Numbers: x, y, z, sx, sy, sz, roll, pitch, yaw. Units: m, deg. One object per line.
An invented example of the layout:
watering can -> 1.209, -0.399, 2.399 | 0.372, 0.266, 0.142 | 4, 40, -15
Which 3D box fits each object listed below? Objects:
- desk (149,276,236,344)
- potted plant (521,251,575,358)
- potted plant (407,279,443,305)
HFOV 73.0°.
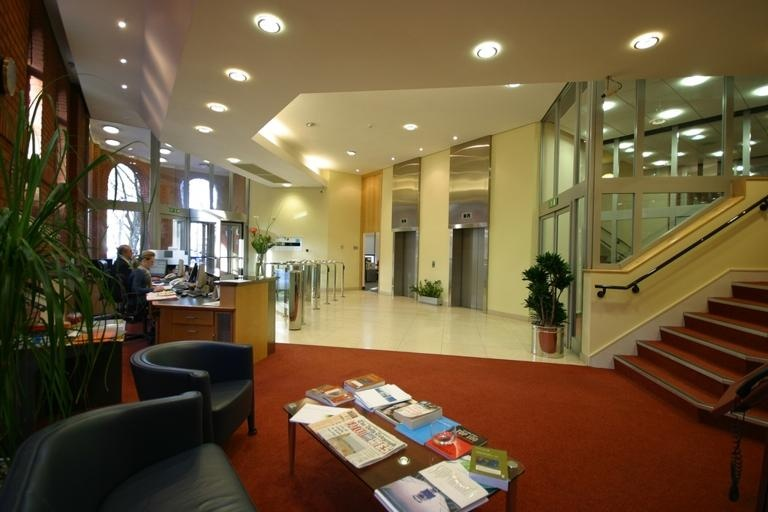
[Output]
desk -> -2.536, 0.621, 6.923 | 0.894, 0.899, 0.625 | 0, 2, -13
potted plant -> 2.509, 0.714, 7.961 | 0.675, 1.540, 0.371 | -2, -1, 11
potted plant -> 1.059, 0.873, 12.791 | 0.604, 0.456, 0.639 | 5, -3, -37
